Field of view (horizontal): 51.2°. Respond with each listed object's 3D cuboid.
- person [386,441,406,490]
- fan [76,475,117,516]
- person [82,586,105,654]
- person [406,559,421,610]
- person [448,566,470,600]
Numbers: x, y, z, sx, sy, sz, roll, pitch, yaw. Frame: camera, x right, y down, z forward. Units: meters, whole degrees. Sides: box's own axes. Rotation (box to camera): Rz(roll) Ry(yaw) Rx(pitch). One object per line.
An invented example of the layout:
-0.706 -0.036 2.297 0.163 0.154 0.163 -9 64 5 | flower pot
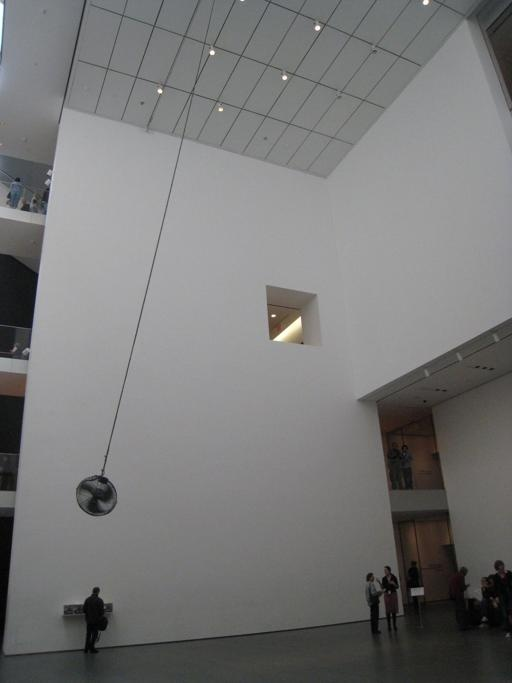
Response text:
3.206 2.916 12.180 0.364 0.895 0.333 -4 -14 7 | person
-1.438 1.398 4.864 0.330 0.335 0.338 -5 -14 11 | fan
-2.268 3.853 7.440 0.289 0.827 0.500 2 -14 -16 | person
3.560 5.499 12.007 0.325 0.818 1.902 -6 -15 14 | person
3.355 4.015 8.804 0.286 0.494 1.233 -7 -15 18 | person
